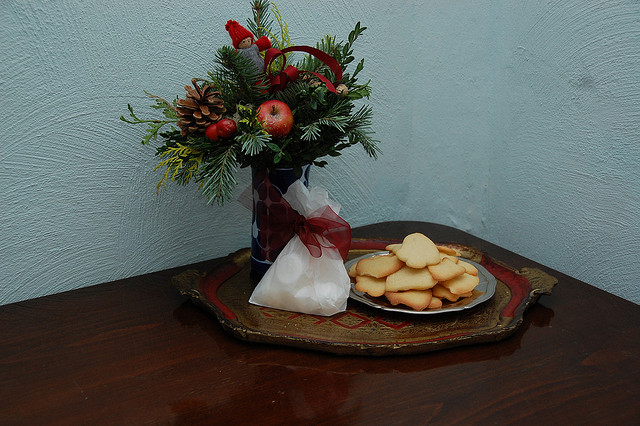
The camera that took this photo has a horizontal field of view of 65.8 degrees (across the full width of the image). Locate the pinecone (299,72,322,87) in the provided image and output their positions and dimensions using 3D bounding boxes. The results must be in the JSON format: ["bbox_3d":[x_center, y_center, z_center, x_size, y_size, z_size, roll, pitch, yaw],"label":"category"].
[{"bbox_3d":[-0.022,-0.244,0.922,0.037,0.010,0.031,23,19,-5],"label":"pinecone"}]

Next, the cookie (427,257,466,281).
[{"bbox_3d":[0.227,0.102,0.879,0.049,0.011,0.042,-21,35,-33],"label":"cookie"}]

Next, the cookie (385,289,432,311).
[{"bbox_3d":[0.151,0.147,0.874,0.050,0.012,0.058,-4,9,-43],"label":"cookie"}]

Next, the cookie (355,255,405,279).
[{"bbox_3d":[0.104,0.098,0.925,0.064,0.011,0.059,-16,13,-33],"label":"cookie"}]

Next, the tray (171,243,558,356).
[{"bbox_3d":[0.073,0.143,0.984,0.734,0.027,0.471,-1,19,-9],"label":"tray"}]

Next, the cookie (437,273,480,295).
[{"bbox_3d":[0.250,0.125,0.886,0.047,0.008,0.042,-23,26,-40],"label":"cookie"}]

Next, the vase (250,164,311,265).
[{"bbox_3d":[-0.063,-0.001,1.004,0.116,0.184,0.096,16,22,37],"label":"vase"}]

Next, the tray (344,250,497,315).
[{"bbox_3d":[0.203,0.152,1.022,0.360,0.089,0.242,-4,11,-12],"label":"tray"}]

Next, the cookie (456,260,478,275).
[{"bbox_3d":[0.271,0.102,0.927,0.032,0.006,0.033,21,17,37],"label":"cookie"}]

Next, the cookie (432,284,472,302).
[{"bbox_3d":[0.239,0.138,0.884,0.042,0.009,0.042,1,5,-39],"label":"cookie"}]
